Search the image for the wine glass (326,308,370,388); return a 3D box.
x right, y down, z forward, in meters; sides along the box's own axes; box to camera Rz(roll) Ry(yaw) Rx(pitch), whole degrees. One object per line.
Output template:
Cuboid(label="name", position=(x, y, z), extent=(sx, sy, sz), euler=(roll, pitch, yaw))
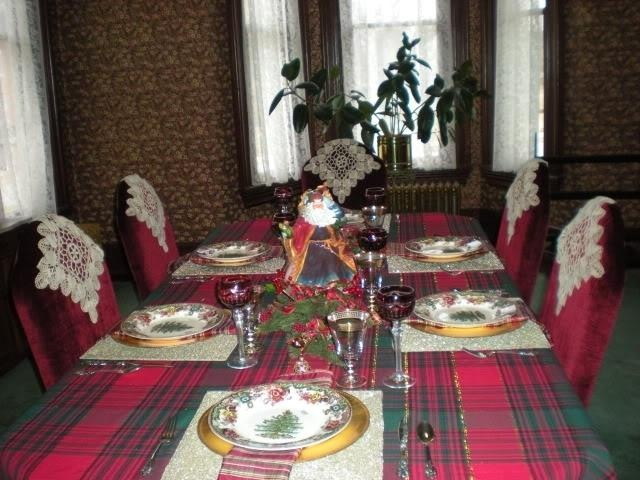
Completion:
Cuboid(label="wine glass", position=(0.068, 0.245, 1.099), extent=(0.096, 0.151, 0.094), euler=(-4, 3, -5))

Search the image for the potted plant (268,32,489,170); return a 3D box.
Cuboid(label="potted plant", position=(0.595, -1.325, 4.799), extent=(1.992, 1.073, 1.068), euler=(7, 18, 18))

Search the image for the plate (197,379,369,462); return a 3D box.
Cuboid(label="plate", position=(-0.060, 0.329, 0.909), extent=(0.300, 0.031, 0.196), euler=(0, 19, 12))
